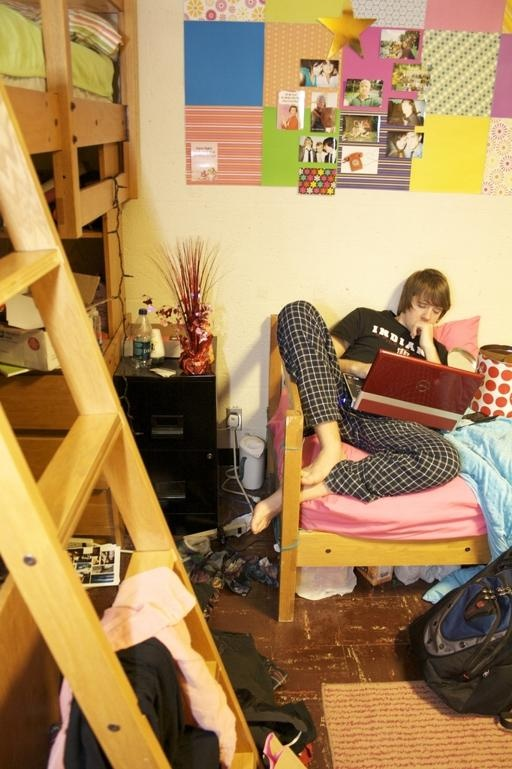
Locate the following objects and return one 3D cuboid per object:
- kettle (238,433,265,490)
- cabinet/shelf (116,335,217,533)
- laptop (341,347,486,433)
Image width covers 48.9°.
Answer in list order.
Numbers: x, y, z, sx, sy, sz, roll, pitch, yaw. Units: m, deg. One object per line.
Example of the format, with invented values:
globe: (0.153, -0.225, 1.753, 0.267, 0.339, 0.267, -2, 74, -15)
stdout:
kettle: (-0.022, 0.361, 2.554, 0.111, 0.195, 0.188, 12, 19, 23)
cabinet/shelf: (-0.316, 0.219, 2.286, 0.427, 0.661, 0.440, 8, 25, 13)
laptop: (0.538, -0.048, 1.923, 0.354, 0.249, 0.255, 12, 40, -3)
